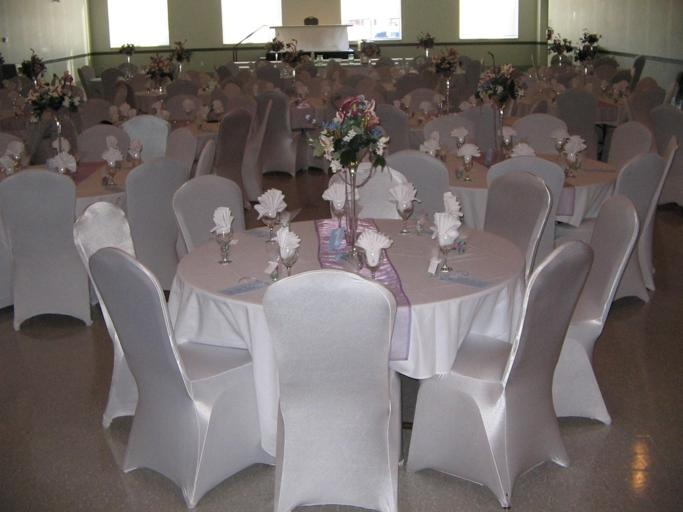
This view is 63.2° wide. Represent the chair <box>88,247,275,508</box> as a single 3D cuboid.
[{"bbox_3d":[-0.742,0.605,2.666,0.647,1.257,0.699,13,25,30],"label":"chair"}]

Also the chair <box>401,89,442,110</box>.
[{"bbox_3d":[1.079,-2.130,7.582,0.508,0.288,1.161,1,16,6],"label":"chair"}]

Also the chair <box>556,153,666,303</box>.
[{"bbox_3d":[1.772,-0.197,3.683,0.593,1.068,0.632,-25,32,-33],"label":"chair"}]

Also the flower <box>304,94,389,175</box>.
[{"bbox_3d":[0.062,-0.585,2.891,0.392,0.480,0.416,-13,29,-19],"label":"flower"}]

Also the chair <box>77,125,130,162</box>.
[{"bbox_3d":[-2.422,-1.146,5.639,0.506,0.345,0.320,-8,17,-23],"label":"chair"}]

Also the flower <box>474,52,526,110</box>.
[{"bbox_3d":[1.444,-1.589,5.236,0.349,0.417,1.262,3,16,14],"label":"flower"}]

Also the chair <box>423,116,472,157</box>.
[{"bbox_3d":[1.058,-1.281,5.655,0.432,0.654,0.477,4,15,19],"label":"chair"}]

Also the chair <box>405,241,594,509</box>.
[{"bbox_3d":[0.719,0.499,2.609,0.718,1.180,0.448,8,18,30],"label":"chair"}]

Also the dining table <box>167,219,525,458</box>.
[{"bbox_3d":[0.019,0.216,2.755,1.183,0.547,1.316,-1,19,5],"label":"dining table"}]

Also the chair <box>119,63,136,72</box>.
[{"bbox_3d":[-4.970,-4.372,12.919,0.363,0.212,0.789,-8,17,-22],"label":"chair"}]
